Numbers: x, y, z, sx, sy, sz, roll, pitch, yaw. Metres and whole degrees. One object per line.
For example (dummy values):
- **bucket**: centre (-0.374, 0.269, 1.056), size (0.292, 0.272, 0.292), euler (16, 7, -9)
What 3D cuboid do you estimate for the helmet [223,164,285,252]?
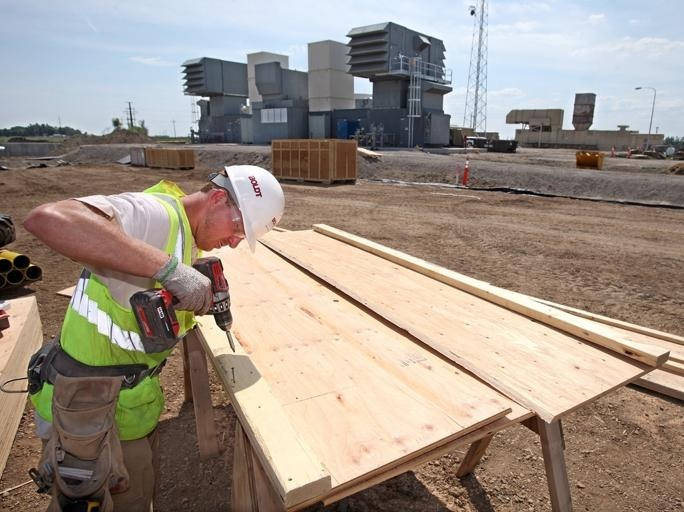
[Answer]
- **helmet**: centre (-0.475, -0.281, 2.273), size (0.322, 0.461, 0.316), euler (-5, 16, -36)
